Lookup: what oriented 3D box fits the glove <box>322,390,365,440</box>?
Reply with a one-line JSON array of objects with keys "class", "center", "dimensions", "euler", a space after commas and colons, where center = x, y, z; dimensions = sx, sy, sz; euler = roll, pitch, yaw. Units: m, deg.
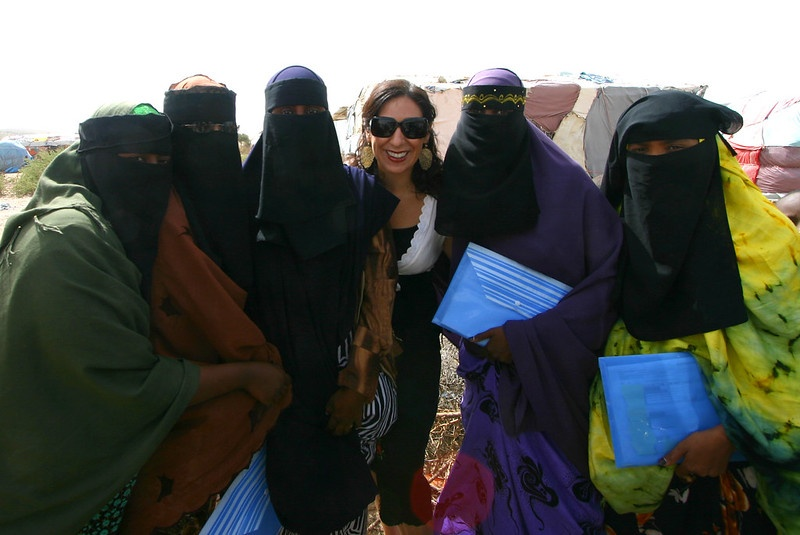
[{"class": "glove", "center": [-0.274, 0.734, 3.111], "dimensions": [0.176, 0.238, 0.108], "euler": [9, 6, -2]}]
